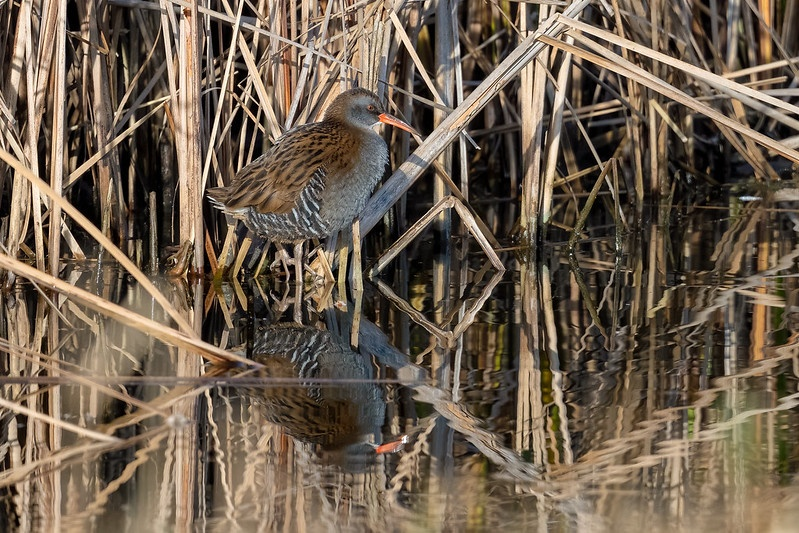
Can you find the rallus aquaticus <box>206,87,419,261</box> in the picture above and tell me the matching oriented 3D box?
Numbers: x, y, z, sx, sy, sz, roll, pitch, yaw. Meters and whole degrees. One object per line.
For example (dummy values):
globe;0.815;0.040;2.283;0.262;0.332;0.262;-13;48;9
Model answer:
rallus aquaticus;-0.473;-0.487;6.846;1.035;0.969;0.619;3;11;9
